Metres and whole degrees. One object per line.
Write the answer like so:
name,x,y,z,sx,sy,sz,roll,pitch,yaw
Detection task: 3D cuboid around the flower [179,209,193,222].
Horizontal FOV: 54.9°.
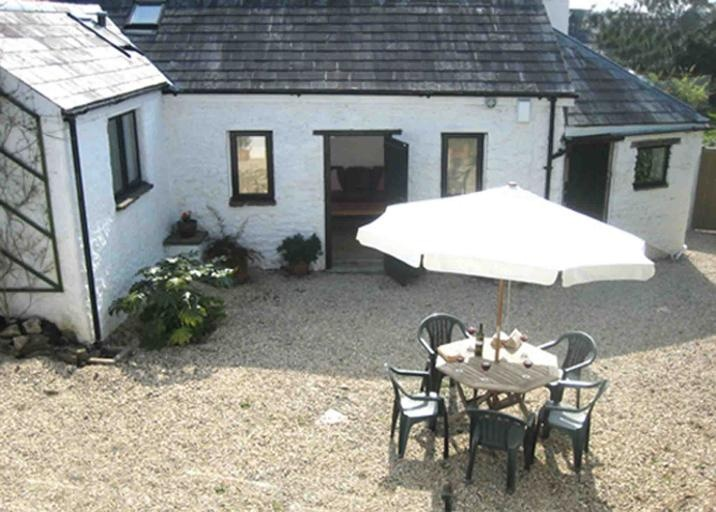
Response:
flower,-3.565,-0.845,14.371,0.273,0.307,0.227,-13,37,-23

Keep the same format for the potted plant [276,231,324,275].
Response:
potted plant,-1.206,-0.041,14.598,0.932,0.847,0.478,-3,14,-4

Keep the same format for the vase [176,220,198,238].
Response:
vase,-3.519,-0.559,14.159,0.328,0.280,0.359,0,4,-4

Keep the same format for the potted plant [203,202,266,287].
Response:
potted plant,-2.719,-0.243,14.647,1.296,1.989,1.379,-4,6,-22
